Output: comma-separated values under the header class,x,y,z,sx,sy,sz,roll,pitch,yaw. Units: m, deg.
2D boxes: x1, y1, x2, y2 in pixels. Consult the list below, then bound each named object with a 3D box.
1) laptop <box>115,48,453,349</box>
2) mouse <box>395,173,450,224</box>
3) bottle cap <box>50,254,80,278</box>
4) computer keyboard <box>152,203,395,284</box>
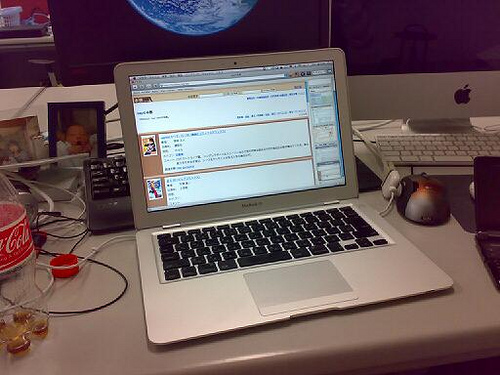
class,x,y,z,sx,sy,sz,roll,pitch,yaw
laptop,0.033,-0.035,0.679,0.484,0.327,0.432,-8,25,-14
mouse,0.377,0.008,0.852,0.111,0.089,0.153,3,22,12
bottle cap,-0.336,0.140,0.701,0.049,0.024,0.065,3,3,8
computer keyboard,0.039,0.096,0.731,0.434,0.033,0.138,-9,25,-10
